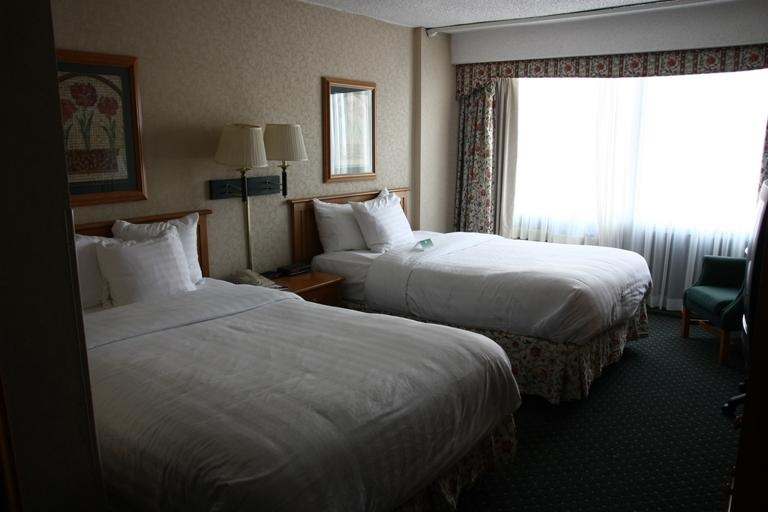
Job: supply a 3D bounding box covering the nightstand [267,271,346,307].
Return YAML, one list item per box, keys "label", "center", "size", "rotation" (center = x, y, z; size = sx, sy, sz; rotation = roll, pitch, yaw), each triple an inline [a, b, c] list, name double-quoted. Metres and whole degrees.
- label: "nightstand"
  center: [-0.700, 0.272, 4.829]
  size: [0.369, 0.365, 0.377]
  rotation: [10, 20, 30]

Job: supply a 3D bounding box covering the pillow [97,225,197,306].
- label: "pillow"
  center: [-1.696, 0.074, 3.696]
  size: [0.192, 0.361, 0.513]
  rotation: [-9, 2, 43]

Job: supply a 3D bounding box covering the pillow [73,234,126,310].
- label: "pillow"
  center: [-1.757, 0.117, 3.260]
  size: [0.136, 0.466, 0.487]
  rotation: [-6, -3, 20]

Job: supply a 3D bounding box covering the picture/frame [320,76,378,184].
- label: "picture/frame"
  center: [-0.371, -1.361, 5.729]
  size: [0.093, 1.064, 0.848]
  rotation: [8, 15, 37]

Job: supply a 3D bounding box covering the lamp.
- label: "lamp"
  center: [-1.098, -0.829, 4.639]
  size: [0.475, 0.651, 0.857]
  rotation: [8, 15, 35]

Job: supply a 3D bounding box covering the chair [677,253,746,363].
- label: "chair"
  center: [3.179, 0.462, 5.121]
  size: [0.478, 0.853, 1.021]
  rotation: [6, 14, 31]
